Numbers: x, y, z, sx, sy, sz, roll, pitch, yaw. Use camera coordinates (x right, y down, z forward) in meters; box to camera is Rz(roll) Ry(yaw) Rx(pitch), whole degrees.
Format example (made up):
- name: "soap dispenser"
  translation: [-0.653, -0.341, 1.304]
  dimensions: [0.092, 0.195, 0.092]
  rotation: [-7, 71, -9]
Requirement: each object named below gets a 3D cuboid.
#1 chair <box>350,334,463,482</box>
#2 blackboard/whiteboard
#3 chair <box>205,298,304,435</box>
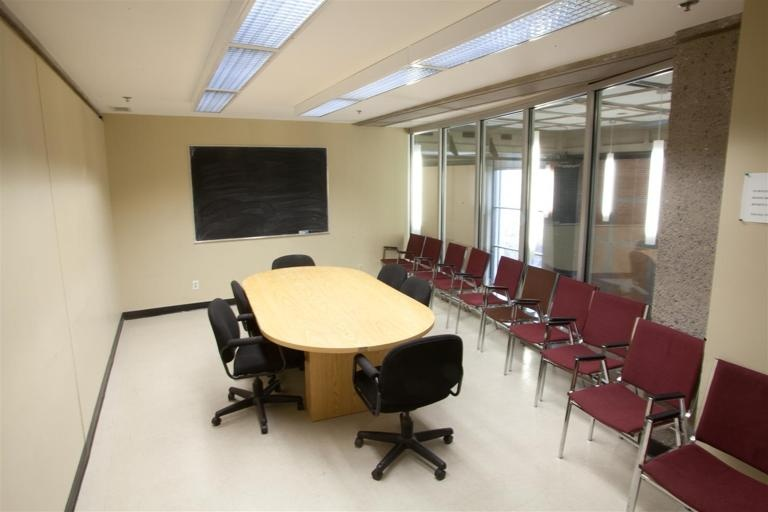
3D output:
- name: "chair"
  translation: [0.182, 1.150, 4.245]
  dimensions: [0.945, 1.144, 0.911]
  rotation: [0, 12, 6]
- name: "blackboard/whiteboard"
  translation: [-1.961, -0.954, 7.505]
  dimensions: [1.674, 1.075, 0.055]
  rotation: [-4, 14, -22]
- name: "chair"
  translation: [-1.283, 1.005, 5.033]
  dimensions: [1.156, 1.325, 1.261]
  rotation: [-2, 15, -13]
